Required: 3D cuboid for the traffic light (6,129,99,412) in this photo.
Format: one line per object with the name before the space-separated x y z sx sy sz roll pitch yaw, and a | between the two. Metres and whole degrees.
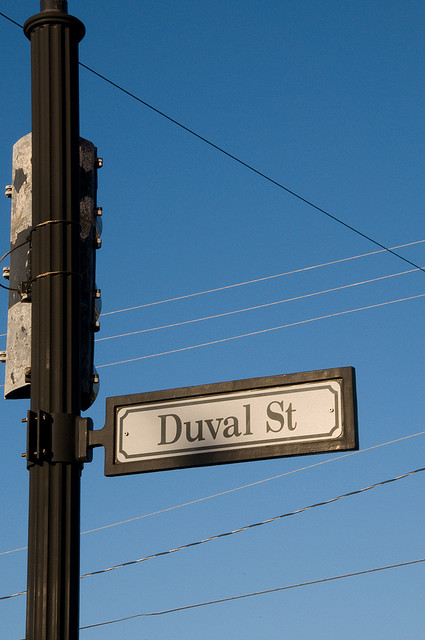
traffic light | -0.616 -0.171 6.953 0.352 1.371 0.713 2 -28 -4
